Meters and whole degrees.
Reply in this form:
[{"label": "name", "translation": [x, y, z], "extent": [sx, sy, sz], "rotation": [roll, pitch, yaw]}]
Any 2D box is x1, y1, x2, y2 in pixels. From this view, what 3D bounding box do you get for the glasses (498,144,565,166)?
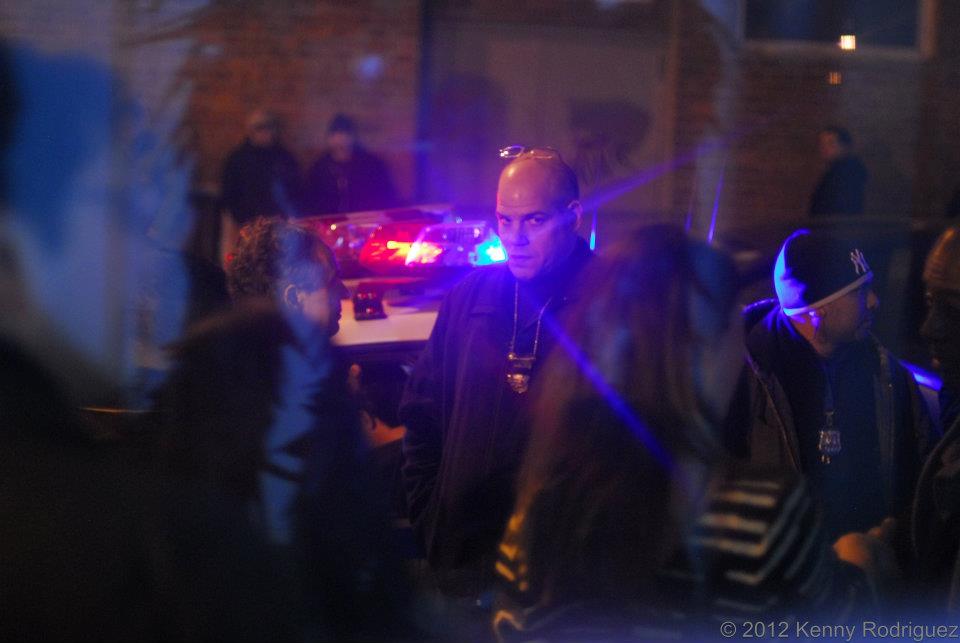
[{"label": "glasses", "translation": [0.205, -0.664, 4.050], "extent": [0.225, 0.065, 0.233], "rotation": [-3, 16, -12]}]
